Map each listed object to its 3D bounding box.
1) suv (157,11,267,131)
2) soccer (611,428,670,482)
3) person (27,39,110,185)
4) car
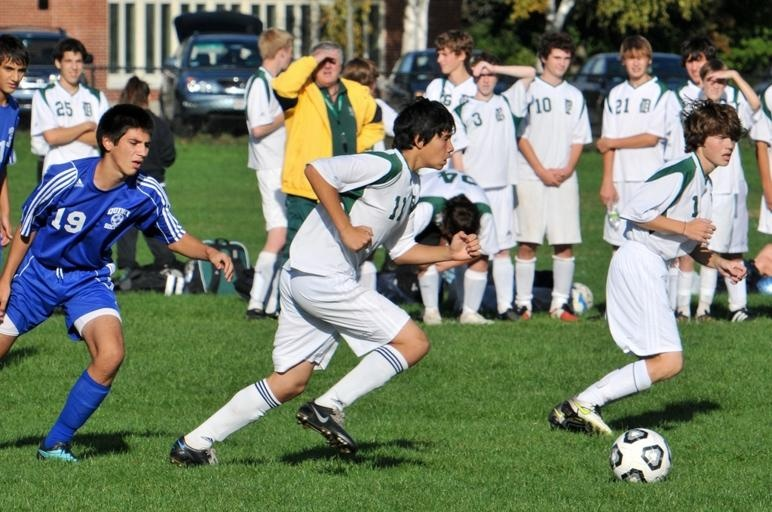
[{"bbox_3d":[-4.025,-4.354,29.140,2.681,2.847,4.758,0,7,-10],"label":"suv"},{"bbox_3d":[2.225,1.726,10.822,0.426,0.444,0.438,8,5,33],"label":"soccer"},{"bbox_3d":[-3.828,-1.275,15.016,1.068,2.640,0.655,-6,12,-31],"label":"person"},{"bbox_3d":[5.817,-4.205,28.736,2.093,1.887,4.085,-4,3,-28],"label":"car"}]
